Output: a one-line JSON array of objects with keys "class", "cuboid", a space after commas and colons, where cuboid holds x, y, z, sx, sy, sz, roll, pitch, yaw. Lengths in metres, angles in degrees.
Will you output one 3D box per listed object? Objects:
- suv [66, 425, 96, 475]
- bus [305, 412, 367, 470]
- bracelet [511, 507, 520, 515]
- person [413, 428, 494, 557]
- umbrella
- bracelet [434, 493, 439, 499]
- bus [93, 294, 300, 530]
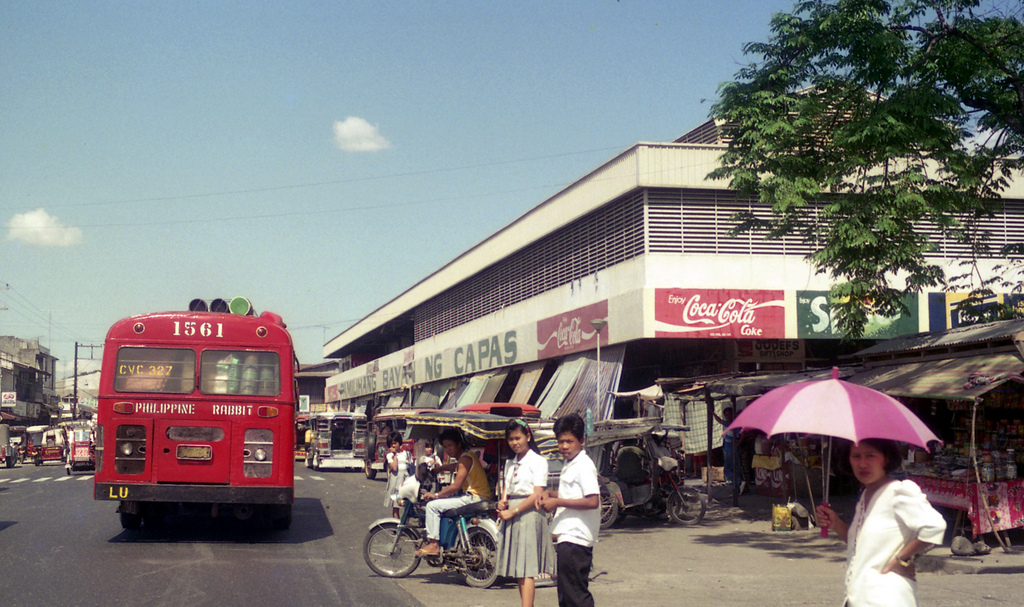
[{"class": "suv", "cuboid": [-21.647, 7.277, 53.727, 1.438, 1.286, 2.458, 4, 11, -20]}, {"class": "bus", "cuboid": [-9.156, 6.978, 55.296, 2.241, 1.865, 3.420, 2, -3, -16]}, {"class": "bracelet", "cuboid": [0.099, 3.703, 19.080, 0.104, 0.122, 0.176, 11, -17, -42]}, {"class": "person", "cuboid": [-1.132, 3.883, 21.960, 1.403, 2.552, 0.524, 0, -12, -3]}, {"class": "umbrella", "cuboid": [6.866, 3.154, 22.528, 4.490, 1.739, 4.330, 2, -9, 8]}, {"class": "bracelet", "cuboid": [-1.530, 3.950, 21.978, 0.075, 0.071, 0.134, 18, 3, -10]}, {"class": "bus", "cuboid": [-8.317, 2.591, 28.089, 5.530, 4.826, 8.196, 1, -2, -13]}]
